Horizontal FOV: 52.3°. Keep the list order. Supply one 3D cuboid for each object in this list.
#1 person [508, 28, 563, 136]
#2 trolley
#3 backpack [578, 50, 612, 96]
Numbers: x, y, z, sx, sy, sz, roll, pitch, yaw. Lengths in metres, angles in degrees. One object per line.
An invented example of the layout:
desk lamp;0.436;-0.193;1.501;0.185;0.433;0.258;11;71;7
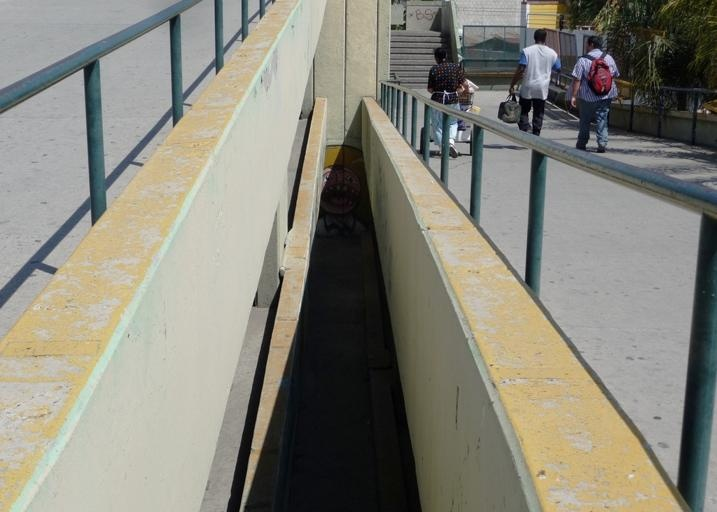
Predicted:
person;2.539;-2.468;10.479;0.641;1.575;2.279;7;18;14
trolley;1.274;-2.117;10.508;0.653;0.718;0.430;12;1;8
backpack;3.192;-2.432;9.621;0.303;0.521;0.507;-8;23;13
